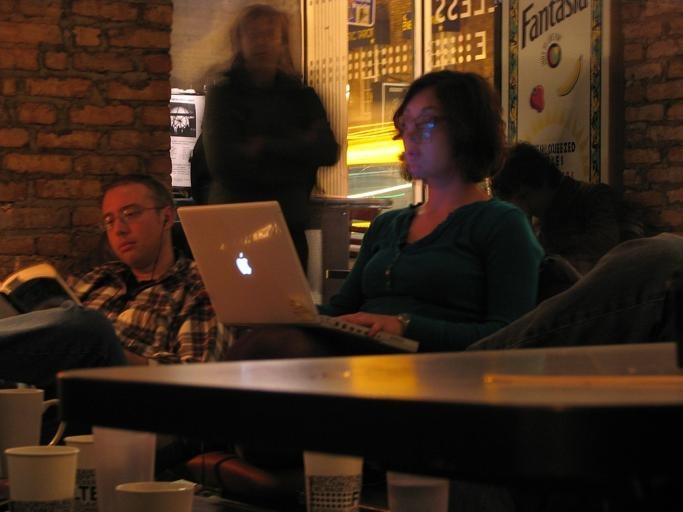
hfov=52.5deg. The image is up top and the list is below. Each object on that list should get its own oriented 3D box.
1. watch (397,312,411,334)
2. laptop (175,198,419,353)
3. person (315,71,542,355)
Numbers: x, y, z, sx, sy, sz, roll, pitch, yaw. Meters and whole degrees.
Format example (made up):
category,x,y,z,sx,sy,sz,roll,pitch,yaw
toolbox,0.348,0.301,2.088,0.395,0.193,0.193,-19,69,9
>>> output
category,x,y,z,sx,sy,sz,roll,pitch,yaw
watch,0.126,0.132,1.390,0.027,0.029,0.034,-2,-1,5
laptop,-0.110,0.082,1.467,0.372,0.215,0.376,10,-14,-41
person,0.263,-0.094,1.820,0.659,0.664,0.653,3,-3,-27
